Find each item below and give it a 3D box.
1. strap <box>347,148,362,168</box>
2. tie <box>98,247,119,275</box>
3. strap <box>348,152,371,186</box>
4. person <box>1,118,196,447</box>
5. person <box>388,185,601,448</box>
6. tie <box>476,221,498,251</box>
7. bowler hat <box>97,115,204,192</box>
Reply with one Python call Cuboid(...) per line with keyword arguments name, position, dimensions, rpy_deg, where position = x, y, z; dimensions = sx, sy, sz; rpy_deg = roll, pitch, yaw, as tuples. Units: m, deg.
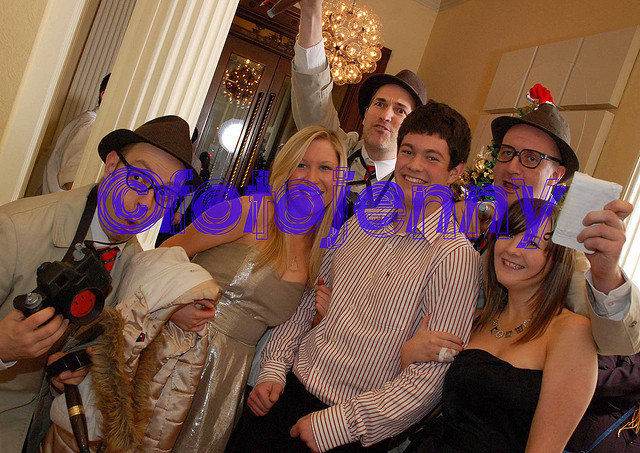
Cuboid(name="strap", position=(0.235, -0.499, 3.375), dimensions=(0.036, 0.153, 0.145), rpy_deg=(42, 0, -6))
Cuboid(name="tie", position=(-0.909, 0.137, 2.052), dimensions=(0.067, 0.102, 0.098), rpy_deg=(0, -14, -9))
Cuboid(name="strap", position=(0.253, -0.384, 3.198), dimensions=(0.162, 0.199, 0.048), rpy_deg=(14, -25, 6))
Cuboid(name="person", position=(-0.948, 0.220, 2.047), dimensions=(0.704, 1.432, 0.734), rpy_deg=(1, 13, -37))
Cuboid(name="person", position=(0.794, 0.453, 2.019), dimensions=(0.652, 1.157, 0.534), rpy_deg=(12, 11, 16))
Cuboid(name="tie", position=(0.840, 0.049, 2.405), dimensions=(0.062, 0.128, 0.334), rpy_deg=(2, 24, 26))
Cuboid(name="bowler hat", position=(-0.777, -0.370, 2.208), dimensions=(0.327, 0.329, 0.327), rpy_deg=(29, 7, -46))
